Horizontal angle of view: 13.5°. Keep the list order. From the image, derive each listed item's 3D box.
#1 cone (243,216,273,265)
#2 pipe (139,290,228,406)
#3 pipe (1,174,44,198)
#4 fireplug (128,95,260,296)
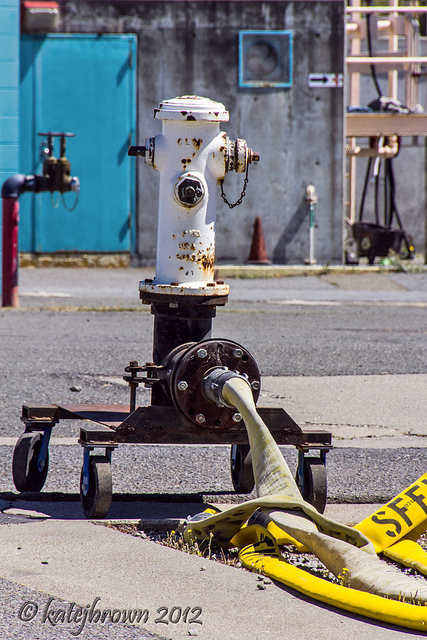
[{"bbox_3d":[0.605,-1.110,23.650,0.183,0.669,0.256,-10,18,-41],"label":"cone"},{"bbox_3d":[-0.188,0.148,11.520,0.559,0.909,0.598,-5,15,-31],"label":"pipe"},{"bbox_3d":[-1.927,-1.420,18.357,0.147,0.217,0.842,2,9,17],"label":"pipe"},{"bbox_3d":[-0.127,-0.801,11.340,0.665,1.253,0.337,-1,6,-3],"label":"fireplug"}]
